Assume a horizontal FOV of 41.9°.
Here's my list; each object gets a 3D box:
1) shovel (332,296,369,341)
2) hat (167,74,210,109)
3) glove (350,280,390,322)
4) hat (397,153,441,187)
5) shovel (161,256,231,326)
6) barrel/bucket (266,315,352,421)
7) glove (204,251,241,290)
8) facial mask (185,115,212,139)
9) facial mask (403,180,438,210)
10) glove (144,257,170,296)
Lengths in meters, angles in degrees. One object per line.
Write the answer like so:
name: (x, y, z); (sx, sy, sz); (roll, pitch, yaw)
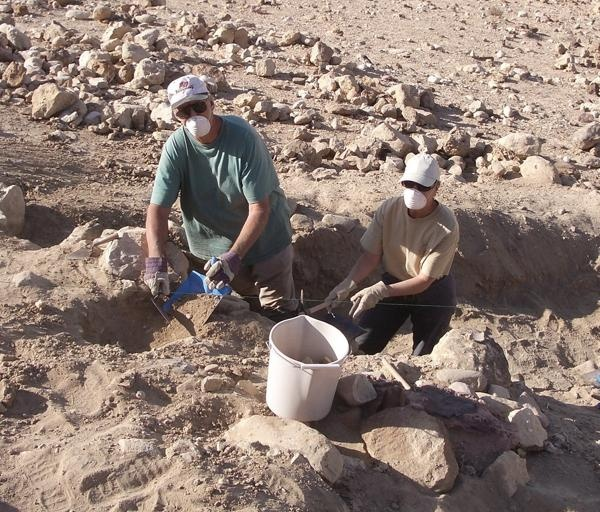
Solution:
shovel: (0.375, 0.514, 6.165); (0.323, 0.111, 0.236); (40, 14, -11)
hat: (-0.820, -1.225, 5.709); (0.304, 0.190, 0.390); (-12, 21, 7)
glove: (0.516, 0.341, 6.048); (0.194, 0.340, 0.134); (51, 12, 1)
hat: (0.913, -0.638, 5.864); (0.218, 0.161, 0.301); (6, 24, 18)
shovel: (-0.759, 0.275, 5.858); (0.170, 0.464, 0.386); (42, 25, -33)
barrel/bucket: (-0.034, 0.752, 5.331); (0.644, 0.599, 0.670); (5, 38, -4)
glove: (-0.571, 0.100, 5.704); (0.247, 0.250, 0.209); (5, 33, -5)
facial mask: (-0.728, -0.935, 5.712); (0.157, 0.140, 0.119); (-10, 3, 7)
facial mask: (0.865, -0.430, 5.825); (0.195, 0.141, 0.229); (10, 36, 23)
glove: (-1.051, 0.169, 5.775); (0.205, 0.119, 0.272); (8, 59, -13)
